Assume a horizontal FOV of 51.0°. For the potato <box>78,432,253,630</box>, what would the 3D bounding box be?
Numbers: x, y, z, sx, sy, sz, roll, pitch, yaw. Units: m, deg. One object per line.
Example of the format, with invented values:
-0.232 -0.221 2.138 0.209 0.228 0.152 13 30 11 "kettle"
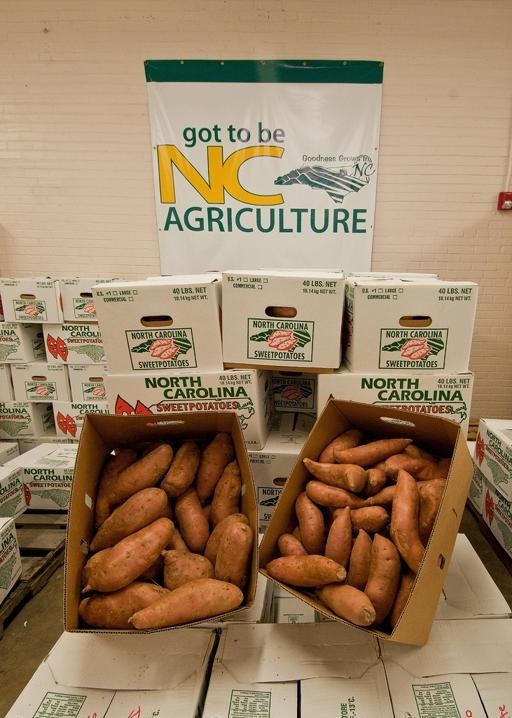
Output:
-0.201 0.387 1.249 0.373 0.249 0.549 -2 20 -6 "potato"
